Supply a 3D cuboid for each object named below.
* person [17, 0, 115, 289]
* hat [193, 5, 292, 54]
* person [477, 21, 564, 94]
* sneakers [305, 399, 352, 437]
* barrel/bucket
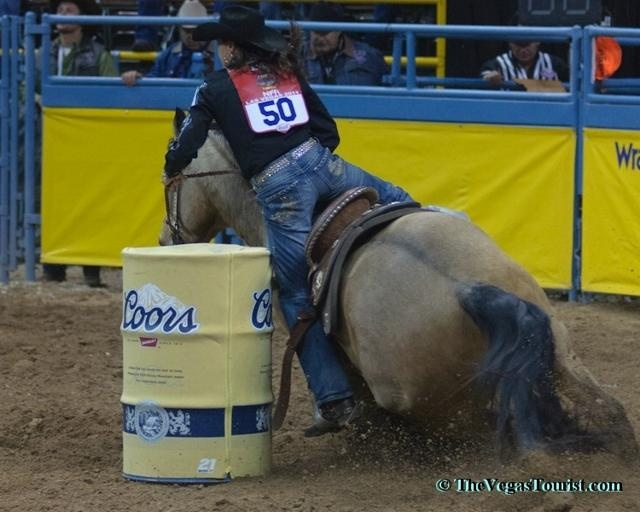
[{"bbox_3d":[-2.118,-1.012,13.206,0.718,2.414,1.091,-2,14,-3],"label":"person"},{"bbox_3d":[-0.520,-1.484,9.686,0.431,0.168,0.387,19,21,22],"label":"hat"},{"bbox_3d":[1.749,-1.658,12.493,0.697,0.342,0.836,-5,15,9],"label":"person"},{"bbox_3d":[0.085,1.028,9.304,0.145,0.187,0.405,23,-37,-33],"label":"sneakers"},{"bbox_3d":[-0.759,0.693,9.541,0.995,1.380,0.996,0,0,0],"label":"barrel/bucket"}]
